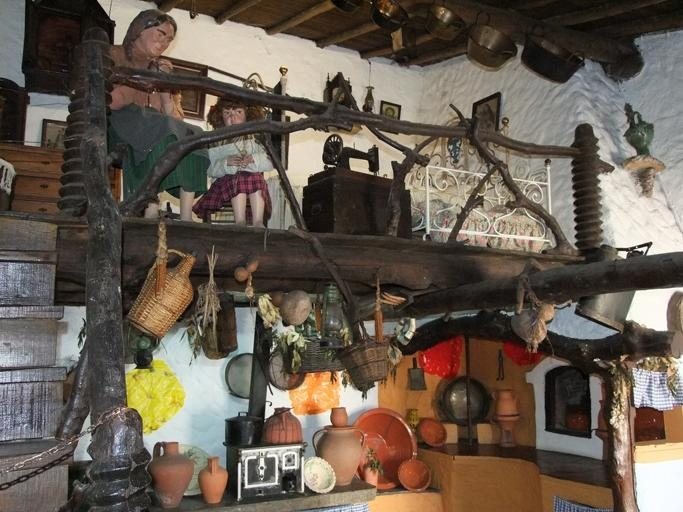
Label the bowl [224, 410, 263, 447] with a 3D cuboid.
[{"bbox_3d":[-0.983,1.752,7.303,0.389,0.313,0.368,-1,-11,0],"label":"bowl"}]

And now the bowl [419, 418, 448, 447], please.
[{"bbox_3d":[1.243,2.393,9.890,0.416,0.361,0.264,-1,-10,0],"label":"bowl"}]

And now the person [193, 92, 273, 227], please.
[{"bbox_3d":[-0.950,-0.863,6.375,0.642,1.211,0.679,0,9,19],"label":"person"}]

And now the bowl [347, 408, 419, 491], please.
[{"bbox_3d":[0.574,2.436,9.235,0.741,0.990,0.406,0,-10,-5],"label":"bowl"}]

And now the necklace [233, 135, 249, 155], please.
[{"bbox_3d":[-0.846,-0.931,6.164,0.144,0.156,0.128,0,-4,-3],"label":"necklace"}]

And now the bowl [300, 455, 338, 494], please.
[{"bbox_3d":[-0.222,2.250,7.485,0.321,0.334,0.415,-1,-11,-1],"label":"bowl"}]

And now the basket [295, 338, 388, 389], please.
[{"bbox_3d":[-0.002,0.901,5.900,0.726,0.333,0.552,-8,-13,1],"label":"basket"}]

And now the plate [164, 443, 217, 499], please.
[{"bbox_3d":[-1.555,2.227,7.566,0.467,0.102,0.461,-1,17,-41],"label":"plate"}]

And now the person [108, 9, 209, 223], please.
[{"bbox_3d":[-1.470,-1.103,5.919,0.819,1.765,0.770,3,-11,-18],"label":"person"}]

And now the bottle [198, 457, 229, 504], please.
[{"bbox_3d":[-1.247,2.196,7.155,0.267,0.425,0.304,-4,-11,20],"label":"bottle"}]

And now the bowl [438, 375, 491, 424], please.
[{"bbox_3d":[1.711,2.022,10.199,0.781,0.655,0.282,2,-11,-14],"label":"bowl"}]

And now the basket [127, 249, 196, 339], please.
[{"bbox_3d":[-1.265,0.231,5.349,0.370,0.635,0.380,27,14,-23],"label":"basket"}]

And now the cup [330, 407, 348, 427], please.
[{"bbox_3d":[-0.014,1.765,8.072,0.192,0.210,0.203,-2,2,0],"label":"cup"}]

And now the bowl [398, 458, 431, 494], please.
[{"bbox_3d":[0.918,2.764,9.199,0.415,0.403,0.225,0,-11,-6],"label":"bowl"}]
